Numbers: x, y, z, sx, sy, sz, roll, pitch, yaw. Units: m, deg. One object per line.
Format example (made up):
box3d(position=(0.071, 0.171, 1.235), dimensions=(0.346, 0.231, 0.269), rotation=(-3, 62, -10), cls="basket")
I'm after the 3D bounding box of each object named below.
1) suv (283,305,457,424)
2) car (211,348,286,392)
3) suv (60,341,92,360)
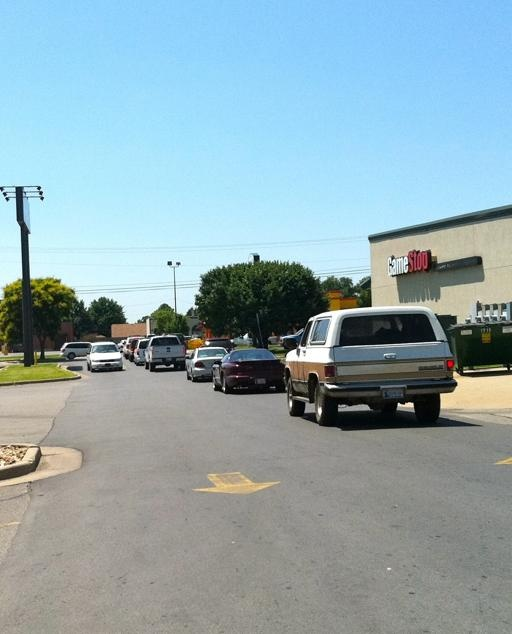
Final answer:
box3d(position=(2.048, 0.842, 12.337), dimensions=(1.746, 1.932, 3.639), rotation=(-1, 0, -14), cls="suv")
box3d(position=(-0.319, 1.973, 20.520), dimensions=(2.608, 1.279, 1.842), rotation=(-3, 0, 19), cls="car")
box3d(position=(-21.582, 4.049, 68.549), dimensions=(3.094, 1.741, 1.573), rotation=(-6, 6, -24), cls="suv")
